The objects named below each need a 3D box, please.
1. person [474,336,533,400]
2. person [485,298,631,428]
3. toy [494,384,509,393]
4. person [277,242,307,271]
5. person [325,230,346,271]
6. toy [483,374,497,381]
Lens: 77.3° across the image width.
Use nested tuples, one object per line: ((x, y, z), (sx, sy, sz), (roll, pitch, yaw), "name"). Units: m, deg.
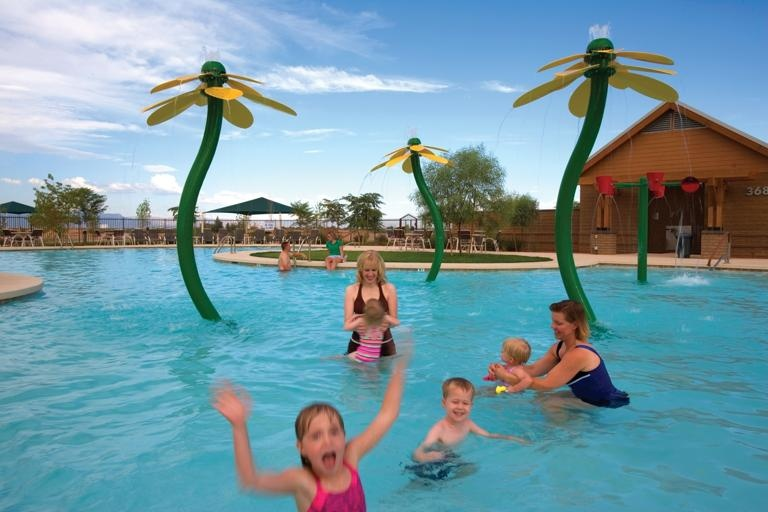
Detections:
((1.805, 1.628, 7.068), (0.914, 0.937, 0.697), (2, 0, 5), "person")
((2.429, 1.451, 6.789), (1.932, 1.421, 1.009), (-2, 1, 6), "person")
((1.709, 1.938, 6.958), (0.126, 0.046, 0.097), (-11, 10, -44), "toy")
((-3.819, -0.058, 18.994), (0.675, 1.070, 3.563), (-3, 4, -11), "person")
((-1.865, -0.220, 17.976), (0.658, 1.391, 1.353), (-2, 4, -7), "person")
((1.624, 1.877, 7.355), (0.065, 0.087, 0.148), (-23, 3, -13), "toy")
